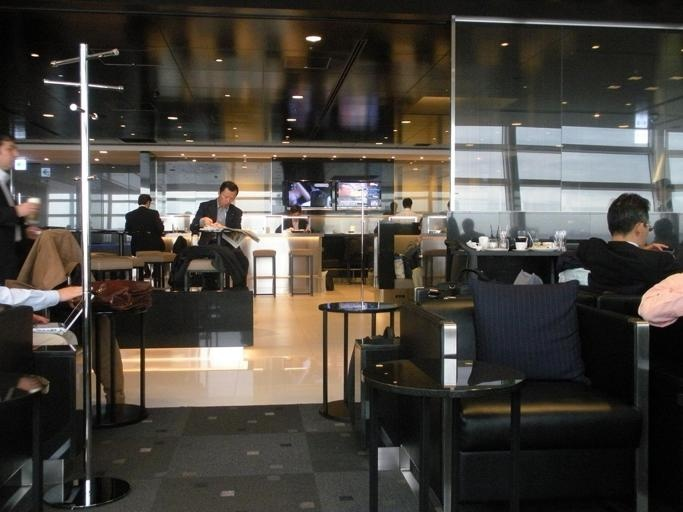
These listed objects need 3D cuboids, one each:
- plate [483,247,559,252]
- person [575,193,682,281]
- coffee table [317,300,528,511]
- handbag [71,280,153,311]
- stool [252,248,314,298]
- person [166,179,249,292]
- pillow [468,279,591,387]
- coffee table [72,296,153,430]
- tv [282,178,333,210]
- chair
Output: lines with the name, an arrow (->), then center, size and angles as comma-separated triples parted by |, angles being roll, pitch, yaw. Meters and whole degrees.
plate -> 1.671, -0.051, 5.853 | 0.716, 0.056, 0.097 | -1, 8, -3
person -> 2.067, -0.137, 4.559 | 0.482, 0.841, 0.484 | 15, 43, 42
coffee table -> 0.443, 0.813, 3.279 | 0.375, 0.382, 1.076 | -3, 6, -21
handbag -> -1.499, 0.259, 4.230 | 0.294, 0.096, 0.297 | 4, 4, 42
stool -> -1.041, 0.301, 10.989 | 0.924, 0.709, 0.318 | 0, -2, -6
person -> -1.369, -0.222, 6.786 | 0.867, 1.120, 0.831 | 6, 8, 7
pillow -> 1.025, 0.436, 3.408 | 0.605, 0.518, 0.205 | 0, -10, 4
coffee table -> -1.596, 0.775, 4.431 | 0.506, 0.730, 0.460 | 0, -2, 8
tv -> -0.768, -1.417, 14.421 | 1.128, 0.684, 0.256 | -2, 9, -4
chair -> 0.953, 0.765, 3.550 | 1.009, 0.939, 1.096 | 0, -1, -1
